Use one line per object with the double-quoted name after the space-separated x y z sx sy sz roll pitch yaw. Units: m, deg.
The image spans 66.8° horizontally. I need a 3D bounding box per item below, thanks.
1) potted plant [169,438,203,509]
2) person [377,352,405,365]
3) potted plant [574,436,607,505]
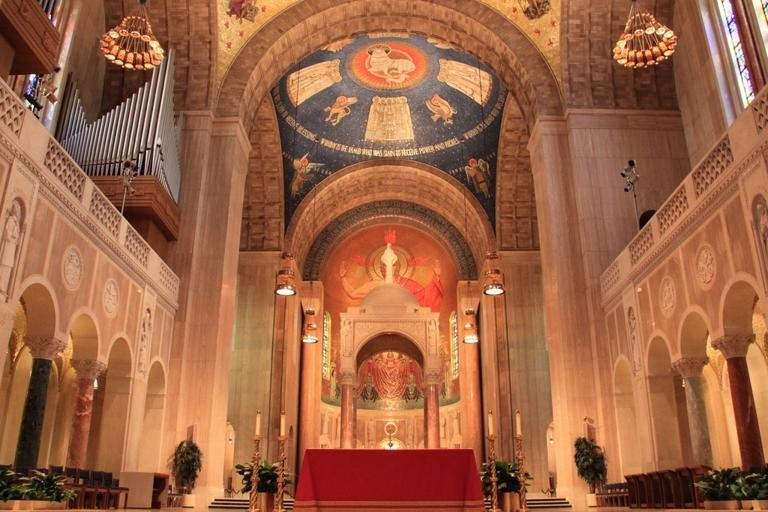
-5.500 5.961 16.070 0.803 1.783 0.549 10 -29 -18 "potted plant"
0.451 6.081 34.559 1.561 0.716 0.340 0 -27 0 "person"
5.700 5.744 15.995 0.801 1.460 0.621 4 -27 -7 "potted plant"
